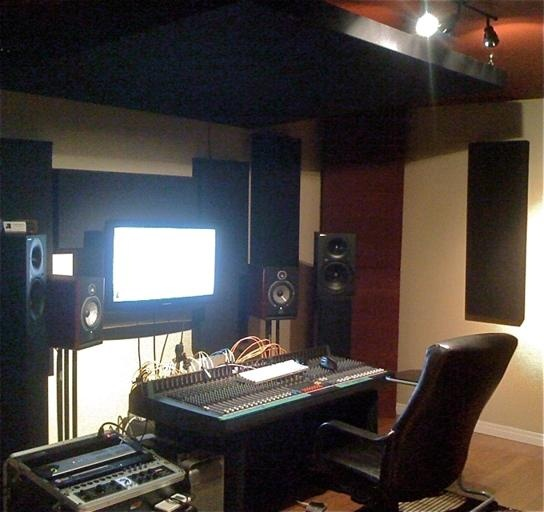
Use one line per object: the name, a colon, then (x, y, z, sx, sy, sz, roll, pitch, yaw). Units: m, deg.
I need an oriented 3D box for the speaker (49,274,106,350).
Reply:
speaker: (-0.892, 0.250, 2.449, 0.198, 0.333, 0.231, 5, 14, 7)

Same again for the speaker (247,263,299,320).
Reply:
speaker: (0.010, 0.218, 3.275, 0.273, 0.387, 0.322, 0, 1, -38)

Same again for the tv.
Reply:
tv: (-0.603, 0.027, 2.833, 0.063, 0.284, 0.464, 5, 5, 43)

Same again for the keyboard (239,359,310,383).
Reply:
keyboard: (0.006, 0.527, 2.482, 0.205, 0.040, 0.113, -8, 13, -37)
